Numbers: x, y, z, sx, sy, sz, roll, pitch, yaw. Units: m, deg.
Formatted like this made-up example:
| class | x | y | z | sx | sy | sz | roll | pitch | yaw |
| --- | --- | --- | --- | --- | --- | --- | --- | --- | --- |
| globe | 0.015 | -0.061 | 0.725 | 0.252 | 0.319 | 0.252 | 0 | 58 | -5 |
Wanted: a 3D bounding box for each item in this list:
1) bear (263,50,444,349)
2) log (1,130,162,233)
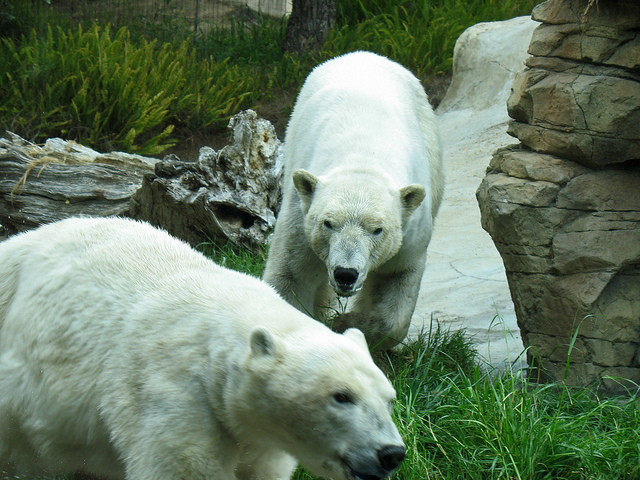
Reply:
| class | x | y | z | sx | sy | sz | roll | pitch | yaw |
| --- | --- | --- | --- | --- | --- | --- | --- | --- | --- |
| bear | 0.209 | -0.532 | 6.357 | 1.027 | 1.887 | 2.726 | 9 | 28 | 5 |
| log | -2.645 | -0.615 | 7.937 | 1.392 | 0.473 | 1.187 | 9 | 43 | -8 |
